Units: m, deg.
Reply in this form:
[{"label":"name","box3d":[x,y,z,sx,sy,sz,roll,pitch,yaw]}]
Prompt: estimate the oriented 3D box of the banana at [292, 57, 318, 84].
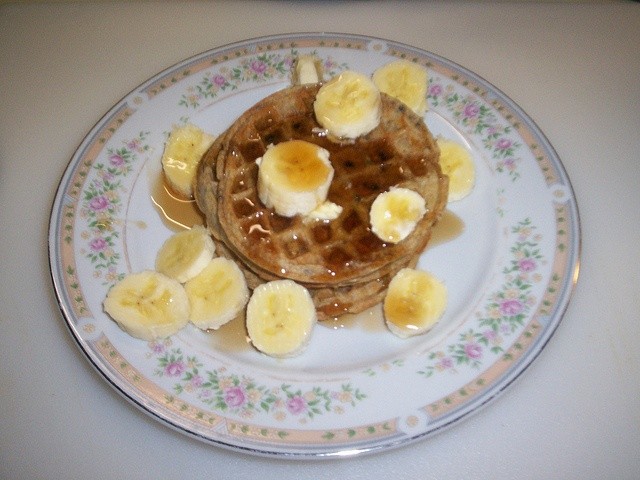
[{"label":"banana","box3d":[-0.132,-1.567,5.349,0.226,0.087,0.324,2,56,-1]}]
